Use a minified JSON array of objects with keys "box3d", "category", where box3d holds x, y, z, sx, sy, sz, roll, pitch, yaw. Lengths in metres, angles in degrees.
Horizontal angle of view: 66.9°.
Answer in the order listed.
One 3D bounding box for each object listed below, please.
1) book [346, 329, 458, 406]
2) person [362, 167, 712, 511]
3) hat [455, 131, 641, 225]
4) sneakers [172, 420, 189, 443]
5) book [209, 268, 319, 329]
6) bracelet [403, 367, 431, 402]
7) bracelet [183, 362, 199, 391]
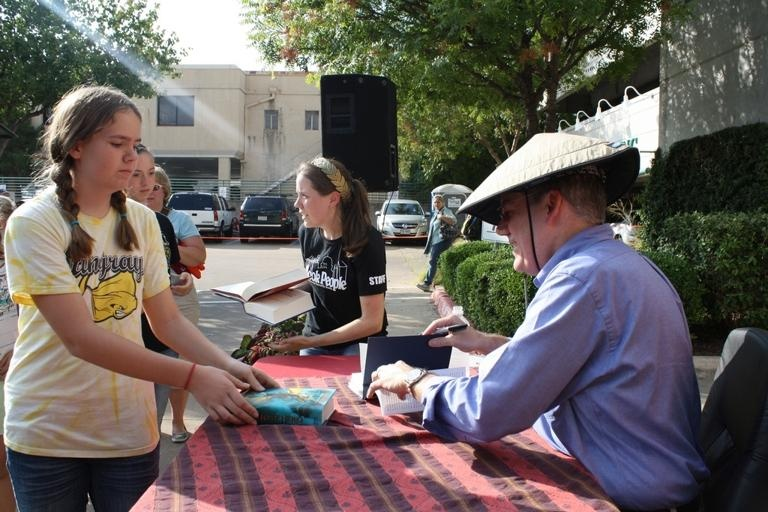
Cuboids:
[{"box3d":[0.095,0.534,2.971,0.329,0.272,0.245,3,28,3],"category":"book"},{"box3d":[0.828,0.399,2.993,1.380,1.386,1.197,0,1,29],"category":"person"},{"box3d":[0.784,-0.431,2.698,0.613,0.242,0.491,-28,-9,18],"category":"hat"},{"box3d":[-1.699,1.482,4.900,0.104,0.145,0.351,-1,-7,-10],"category":"sneakers"},{"box3d":[-0.695,0.254,3.597,0.497,0.222,0.377,-1,5,41],"category":"book"},{"box3d":[0.152,0.604,2.781,0.094,0.162,0.156,10,32,22],"category":"bracelet"},{"box3d":[-0.895,0.563,2.682,0.023,0.093,0.095,19,-17,1],"category":"bracelet"}]
